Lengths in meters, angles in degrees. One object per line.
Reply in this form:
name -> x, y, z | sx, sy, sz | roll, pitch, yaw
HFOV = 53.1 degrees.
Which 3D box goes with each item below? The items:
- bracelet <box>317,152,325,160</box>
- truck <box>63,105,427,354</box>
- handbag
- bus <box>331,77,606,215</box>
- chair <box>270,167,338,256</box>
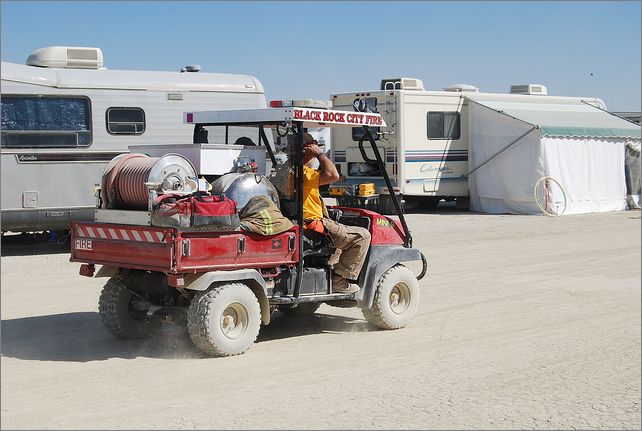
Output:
bracelet -> 0.006, -0.792, 8.476 | 0.079, 0.078, 0.077 | -1, 3, 23
truck -> -0.827, 0.104, 9.153 | 4.699, 2.984, 2.532 | -1, 4, -44
handbag -> -1.452, -0.040, 7.478 | 0.764, 0.341, 0.454 | 2, 0, -37
bus -> 7.031, -2.170, 22.463 | 8.888, 4.288, 3.352 | 0, 0, 7
chair -> -0.116, -0.153, 8.768 | 0.598, 1.039, 0.935 | -2, 6, -20
